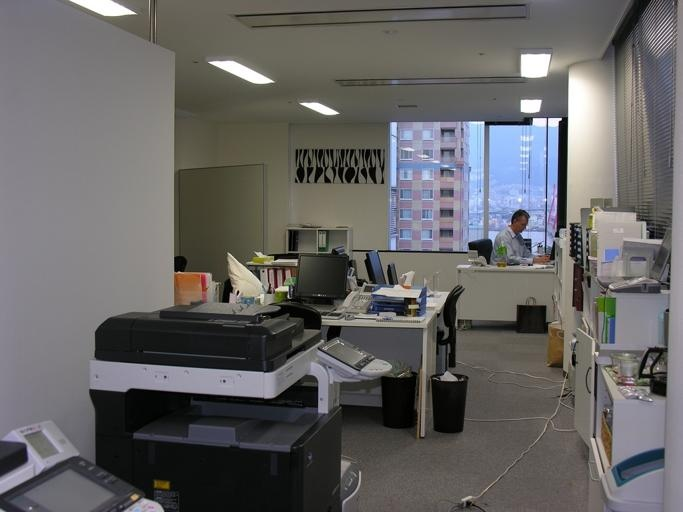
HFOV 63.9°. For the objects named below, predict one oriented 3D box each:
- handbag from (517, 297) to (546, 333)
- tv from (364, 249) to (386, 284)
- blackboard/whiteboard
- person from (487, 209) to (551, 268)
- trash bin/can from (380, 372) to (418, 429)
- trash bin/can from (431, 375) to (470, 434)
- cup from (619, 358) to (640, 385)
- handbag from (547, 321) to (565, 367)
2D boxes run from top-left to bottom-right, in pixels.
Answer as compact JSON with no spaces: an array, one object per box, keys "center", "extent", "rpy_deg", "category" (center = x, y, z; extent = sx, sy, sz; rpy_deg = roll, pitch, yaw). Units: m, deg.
[{"center":[2.843,0.888,8.183],"extent":[0.470,0.645,0.210],"rpy_deg":[0,1,5],"category":"handbag"},{"center":[0.403,0.136,6.997],"extent":[0.061,0.361,0.479],"rpy_deg":[-12,7,16],"category":"tv"},{"center":[-1.781,-0.512,8.399],"extent":[1.606,2.496,0.160],"rpy_deg":[4,10,28],"category":"blackboard/whiteboard"},{"center":[2.839,-0.270,8.910],"extent":[0.894,1.112,0.741],"rpy_deg":[-1,4,13],"category":"person"},{"center":[0.429,1.257,4.857],"extent":[0.376,0.496,0.411],"rpy_deg":[0,-2,0],"category":"trash bin/can"},{"center":[0.882,1.256,4.765],"extent":[0.411,0.525,0.418],"rpy_deg":[0,-5,0],"category":"trash bin/can"},{"center":[1.564,0.624,2.982],"extent":[0.097,0.133,0.087],"rpy_deg":[2,6,25],"category":"cup"},{"center":[2.510,1.048,6.419],"extent":[0.279,0.535,0.520],"rpy_deg":[1,3,17],"category":"handbag"}]
